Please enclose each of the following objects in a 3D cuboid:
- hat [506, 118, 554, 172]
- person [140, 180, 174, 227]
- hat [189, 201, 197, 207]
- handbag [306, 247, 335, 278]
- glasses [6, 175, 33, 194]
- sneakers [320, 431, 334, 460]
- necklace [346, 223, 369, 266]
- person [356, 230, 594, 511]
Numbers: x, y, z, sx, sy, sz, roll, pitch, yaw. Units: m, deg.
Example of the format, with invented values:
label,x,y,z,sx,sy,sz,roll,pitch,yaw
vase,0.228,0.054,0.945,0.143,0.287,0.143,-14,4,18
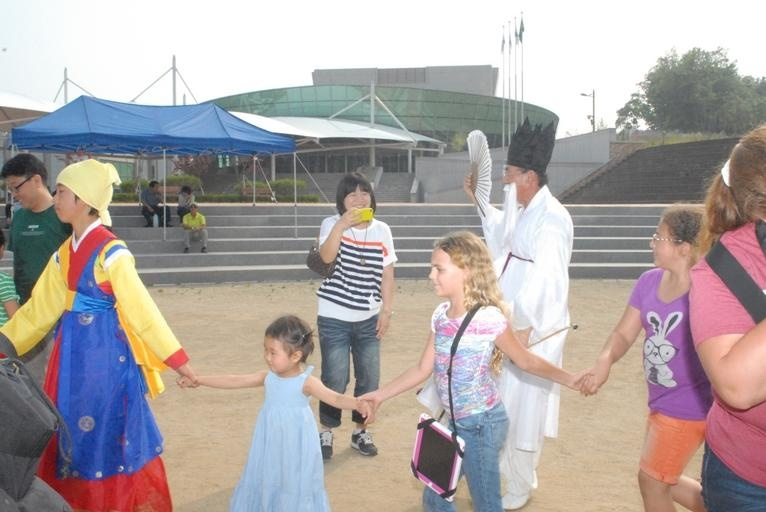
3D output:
label,x,y,z,sx,sy,sz,roll,pitch,yaw
hat,1.332,-0.988,9.268,0.402,0.412,0.377,9,0,-25
person,-4.496,-1.042,20.789,0.615,0.871,0.594,4,15,11
hat,-3.521,-0.935,19.469,0.137,0.091,0.175,4,0,-18
handbag,-0.587,0.078,9.681,0.319,0.302,0.225,5,0,4
glasses,-3.220,-0.641,9.340,0.158,0.047,0.164,-22,4,22
sneakers,-0.512,1.749,9.668,0.095,0.117,0.273,0,44,-16
necklace,-0.213,-0.073,9.667,0.243,0.328,0.332,-9,-11,26
person,0.695,0.909,8.306,1.003,2.148,0.962,-12,20,-41
